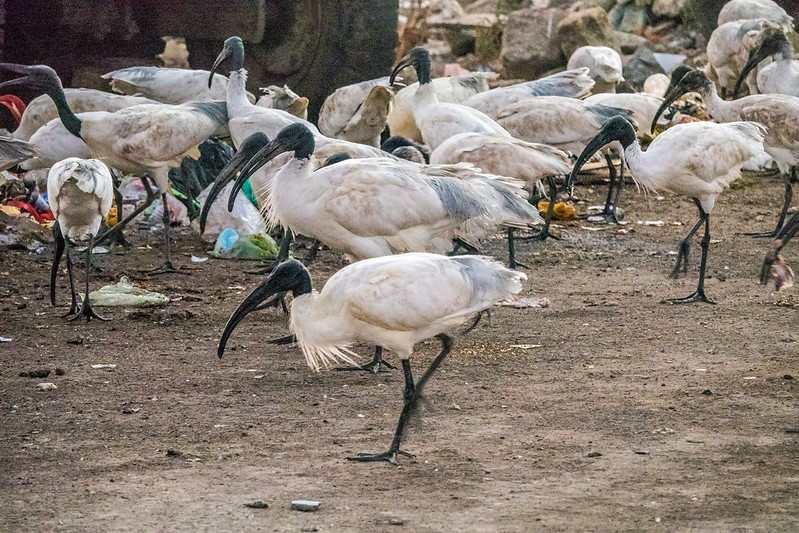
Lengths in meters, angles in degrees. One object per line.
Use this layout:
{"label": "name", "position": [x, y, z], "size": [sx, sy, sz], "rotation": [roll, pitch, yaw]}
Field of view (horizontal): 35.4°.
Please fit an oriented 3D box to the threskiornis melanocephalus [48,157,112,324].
{"label": "threskiornis melanocephalus", "position": [-3.790, -0.350, 14.769], "size": [0.713, 1.811, 0.914], "rotation": [2, 18, -14]}
